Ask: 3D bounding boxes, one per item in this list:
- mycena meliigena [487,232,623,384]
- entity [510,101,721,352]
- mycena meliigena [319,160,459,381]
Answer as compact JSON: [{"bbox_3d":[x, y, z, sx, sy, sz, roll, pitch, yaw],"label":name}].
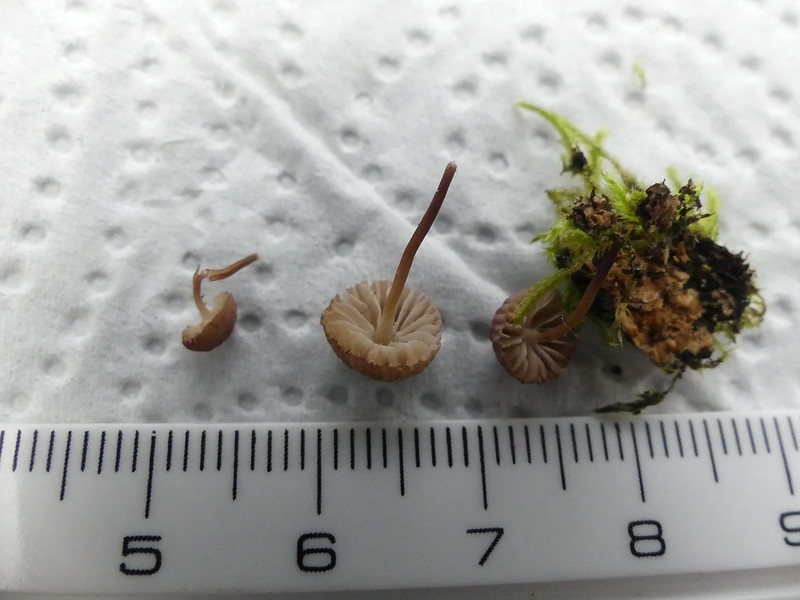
[{"bbox_3d":[0.468,0.046,2.585,0.309,0.454,0.340,17,36,28],"label":"mycena meliigena"},{"bbox_3d":[0.649,-0.226,2.571,0.485,0.825,0.536,3,33,11],"label":"entity"},{"bbox_3d":[-0.016,-0.057,2.550,0.378,0.641,0.514,-1,31,4],"label":"mycena meliigena"}]
